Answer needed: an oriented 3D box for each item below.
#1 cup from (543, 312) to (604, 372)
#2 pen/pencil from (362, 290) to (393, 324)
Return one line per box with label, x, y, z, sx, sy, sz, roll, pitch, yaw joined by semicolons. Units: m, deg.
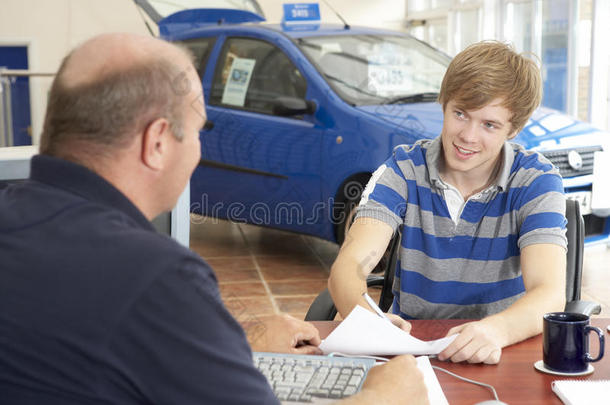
cup;0.334;0.174;0.738;0.091;0.068;0.058;2;1;34
pen/pencil;0.108;0.156;0.818;0.018;0.067;0.018;-45;12;-34
